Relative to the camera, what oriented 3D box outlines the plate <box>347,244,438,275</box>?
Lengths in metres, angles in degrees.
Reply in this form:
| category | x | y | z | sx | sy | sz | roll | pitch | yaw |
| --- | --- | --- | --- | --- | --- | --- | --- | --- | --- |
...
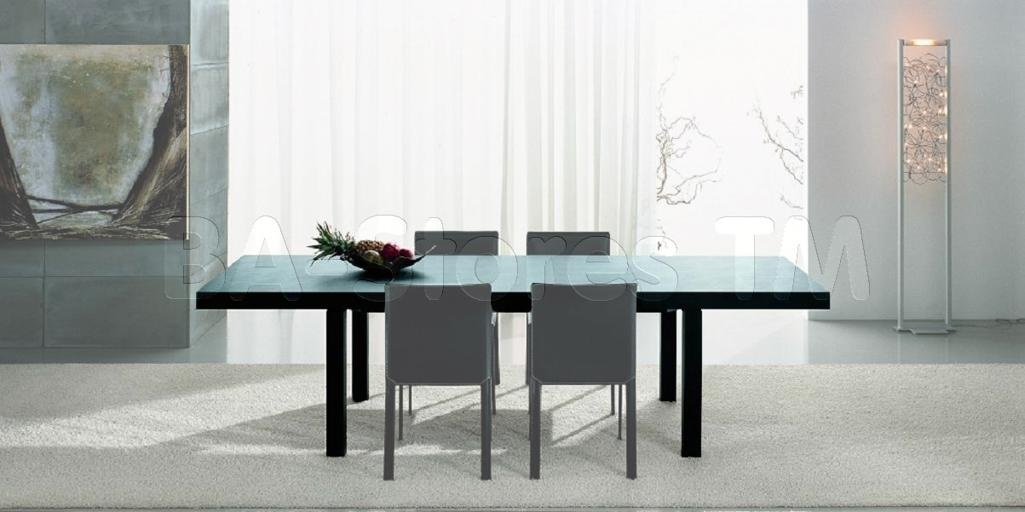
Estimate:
| category | x | y | z | sx | sy | sz | roll | pitch | yaw |
| --- | --- | --- | --- | --- | --- | --- | --- | --- | --- |
| plate | -1.010 | 0.059 | 7.899 | 0.977 | 0.365 | 0.387 | -3 | -3 | 24 |

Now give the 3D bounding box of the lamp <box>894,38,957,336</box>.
| category | x | y | z | sx | sy | sz | roll | pitch | yaw |
| --- | --- | --- | --- | --- | --- | --- | --- | --- | --- |
| lamp | 4.640 | -0.809 | 9.840 | 0.704 | 3.239 | 0.542 | 0 | 5 | 9 |

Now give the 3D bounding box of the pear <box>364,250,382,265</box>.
| category | x | y | z | sx | sy | sz | roll | pitch | yaw |
| --- | --- | --- | --- | --- | --- | --- | --- | --- | --- |
| pear | -1.197 | 0.014 | 7.694 | 0.144 | 0.076 | 0.101 | 19 | 3 | 15 |
